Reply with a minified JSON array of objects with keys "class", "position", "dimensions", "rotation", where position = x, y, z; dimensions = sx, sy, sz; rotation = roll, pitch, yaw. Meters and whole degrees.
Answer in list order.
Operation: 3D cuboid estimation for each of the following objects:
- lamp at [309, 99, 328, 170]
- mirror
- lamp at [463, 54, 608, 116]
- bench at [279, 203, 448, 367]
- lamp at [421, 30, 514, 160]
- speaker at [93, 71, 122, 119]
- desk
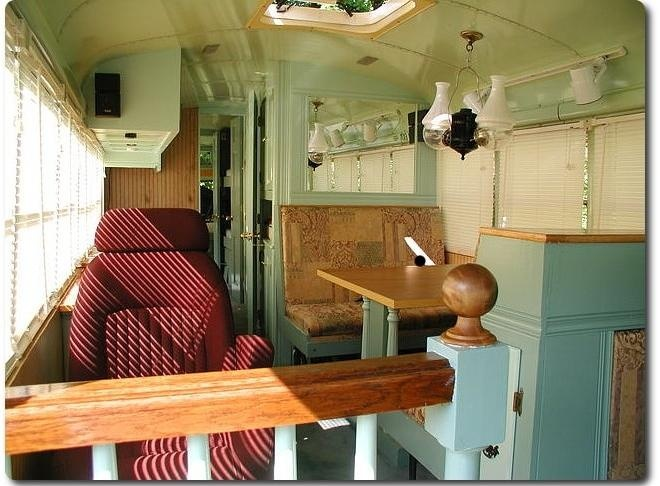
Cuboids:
[{"class":"lamp","position":[-0.132,-1.093,4.781],"dimensions":[0.209,0.699,0.146],"rotation":[-2,10,-6]},{"class":"mirror","position":[0.294,-0.984,5.029],"dimensions":[1.589,1.049,0.059],"rotation":[-15,22,-32]},{"class":"lamp","position":[1.539,-1.117,3.507],"dimensions":[0.162,0.252,1.001],"rotation":[-24,17,-31]},{"class":"bench","position":[0.174,0.344,3.916],"dimensions":[1.735,1.304,0.951],"rotation":[0,-5,-16]},{"class":"lamp","position":[0.901,-0.941,3.124],"dimensions":[0.608,0.828,0.552],"rotation":[5,11,27]},{"class":"speaker","position":[-1.937,-1.285,4.128],"dimensions":[0.207,0.373,0.156],"rotation":[-4,11,-15]},{"class":"desk","position":[0.480,0.373,3.221],"dimensions":[0.868,0.767,0.835],"rotation":[2,2,-23]}]
